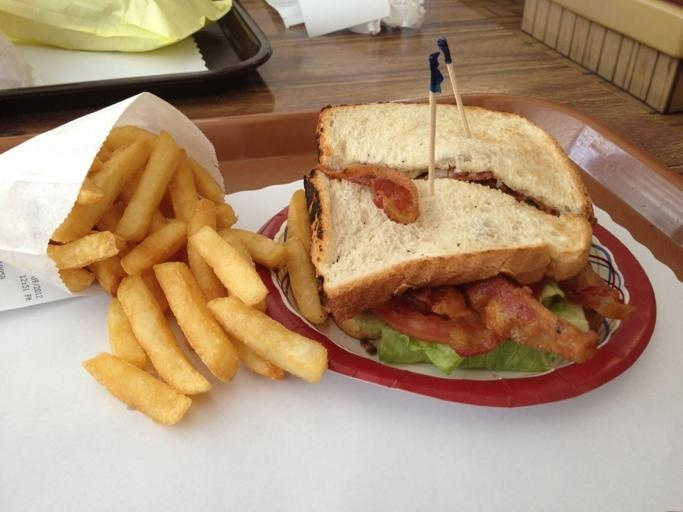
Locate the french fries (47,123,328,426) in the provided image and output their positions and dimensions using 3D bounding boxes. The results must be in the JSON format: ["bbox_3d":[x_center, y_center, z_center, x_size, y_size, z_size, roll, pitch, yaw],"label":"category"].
[{"bbox_3d":[-0.350,0.019,1.465,0.772,0.632,0.621,-21,26,-38],"label":"french fries"}]

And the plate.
[{"bbox_3d":[0.298,0.116,1.085,0.566,0.084,0.482,5,44,7],"label":"plate"}]
